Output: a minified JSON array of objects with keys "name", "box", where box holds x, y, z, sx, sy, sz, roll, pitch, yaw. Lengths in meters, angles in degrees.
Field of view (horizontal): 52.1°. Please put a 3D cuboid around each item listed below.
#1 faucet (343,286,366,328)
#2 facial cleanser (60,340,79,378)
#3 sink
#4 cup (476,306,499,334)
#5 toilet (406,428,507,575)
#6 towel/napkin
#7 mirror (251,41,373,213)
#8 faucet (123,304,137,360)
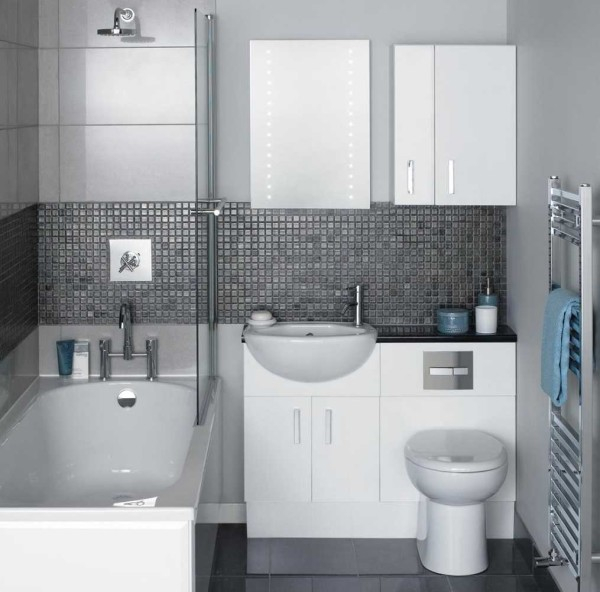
[{"name":"faucet","box":[0.263,0.046,2.977,0.106,0.208,0.049,-8,17,-15]},{"name":"facial cleanser","box":[-1.141,0.307,3.035,0.097,0.180,0.043,0,4,11]},{"name":"sink","box":[0.063,0.264,2.801,0.589,0.235,0.381,0,5,6]},{"name":"cup","box":[0.877,0.116,2.879,0.103,0.119,0.089,0,-3,8]},{"name":"toilet","box":[0.682,0.892,2.694,0.375,0.544,0.530,-1,4,4]},{"name":"towel/napkin","box":[0.816,0.164,1.924,0.087,0.356,0.277,0,5,18]},{"name":"mirror","box":[0.055,-0.778,2.933,0.616,1.012,0.087,0,-21,0]},{"name":"faucet","box":[-0.826,0.172,3.004,0.053,0.255,0.041,2,7,-4]}]
